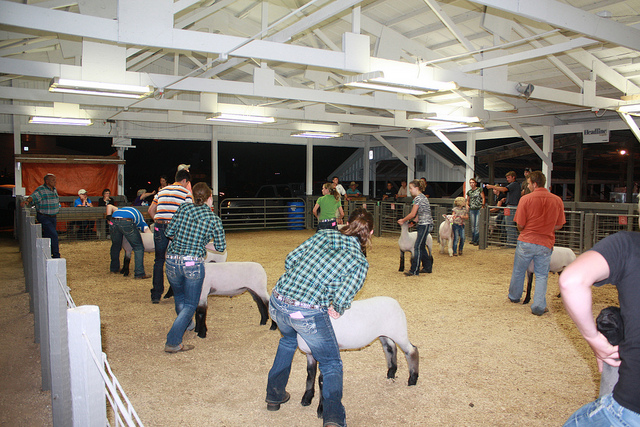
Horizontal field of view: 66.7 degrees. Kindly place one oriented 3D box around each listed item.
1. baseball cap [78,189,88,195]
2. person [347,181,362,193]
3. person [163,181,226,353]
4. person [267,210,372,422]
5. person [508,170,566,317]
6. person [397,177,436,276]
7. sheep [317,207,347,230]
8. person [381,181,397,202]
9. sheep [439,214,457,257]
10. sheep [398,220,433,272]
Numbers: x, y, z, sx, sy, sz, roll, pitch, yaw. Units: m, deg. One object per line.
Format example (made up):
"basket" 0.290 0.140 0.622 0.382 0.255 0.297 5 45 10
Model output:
"baseball cap" -7.941 -0.756 16.261 0.461 0.163 0.297 -4 2 39
"person" 1.346 -0.990 18.716 0.733 0.468 0.343 -1 2 -22
"person" -1.794 0.726 6.799 0.808 2.337 0.805 -1 5 -18
"person" -0.015 1.098 5.128 1.022 2.282 0.628 2 5 19
"person" 3.575 0.478 8.046 0.762 2.381 0.631 3 5 30
"person" 2.150 0.296 10.714 0.730 2.100 1.375 1 5 13
"sheep" 0.243 0.083 11.422 0.520 0.824 0.642 -7 8 -17
"person" 2.722 -0.920 19.233 0.695 0.858 1.029 2 -2 16
"sheep" 3.469 0.567 13.185 0.455 1.072 0.890 1 5 15
"sheep" 2.127 0.721 10.897 0.683 1.196 0.760 1 4 8
